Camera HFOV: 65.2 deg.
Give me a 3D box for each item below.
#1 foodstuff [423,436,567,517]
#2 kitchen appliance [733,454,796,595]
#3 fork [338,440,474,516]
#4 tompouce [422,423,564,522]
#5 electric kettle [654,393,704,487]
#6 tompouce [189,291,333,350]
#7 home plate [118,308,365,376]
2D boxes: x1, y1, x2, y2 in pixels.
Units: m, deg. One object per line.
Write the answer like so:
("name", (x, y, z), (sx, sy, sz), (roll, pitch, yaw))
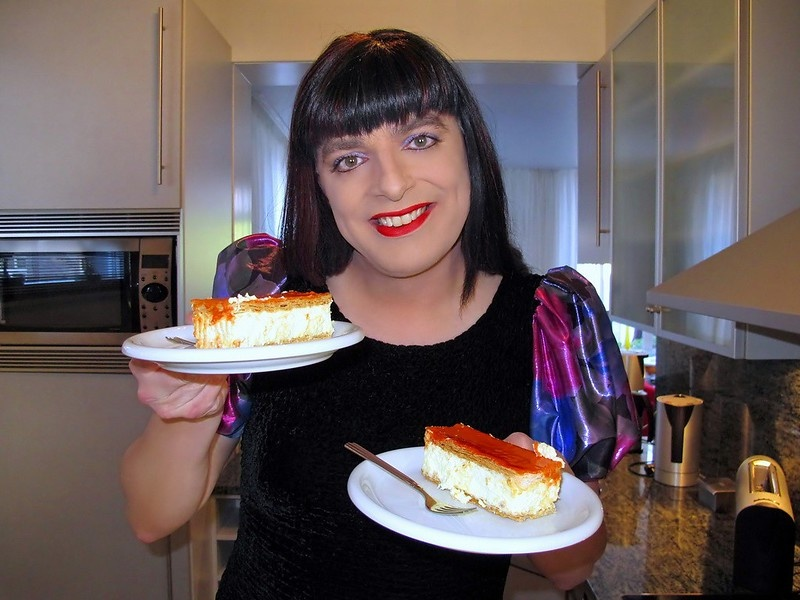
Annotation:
("foodstuff", (0.214, 0.381, 1.477), (0.240, 0.105, 0.176), (11, 11, 39))
("kitchen appliance", (1.073, 0.677, 1.843), (0.136, 0.364, 0.235), (0, -22, 17))
("fork", (0.022, 0.426, 1.478), (0.072, 0.053, 0.437), (-13, 28, -43))
("tompouce", (0.217, 0.372, 1.488), (0.266, 0.117, 0.182), (12, 13, 41))
("electric kettle", (1.114, 0.575, 2.513), (0.173, 0.347, 0.098), (0, 3, 26))
("tompouce", (-0.345, 0.060, 1.587), (0.337, 0.135, 0.139), (-4, -9, -19))
("home plate", (-0.346, 0.114, 1.438), (0.512, 0.099, 0.344), (-2, 3, -7))
